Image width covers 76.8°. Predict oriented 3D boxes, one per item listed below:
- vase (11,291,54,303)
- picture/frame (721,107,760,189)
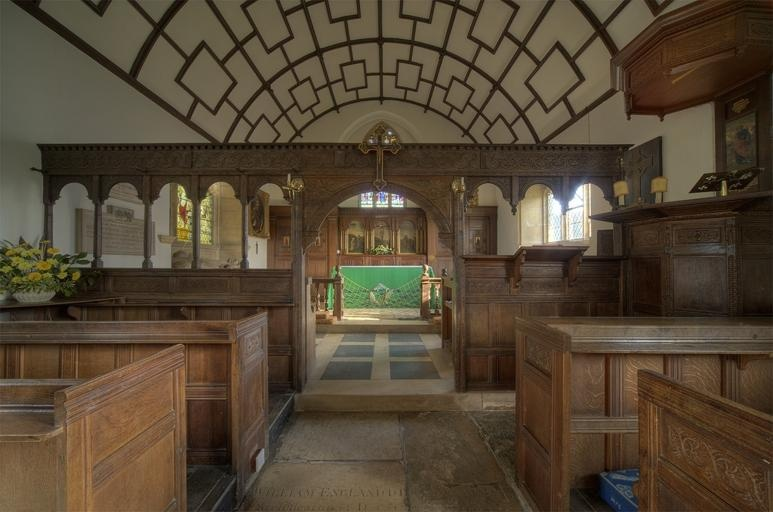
[{"bbox_3d":[-5.048,0.585,6.957,0.479,0.182,0.410,-1,-1,-33],"label":"vase"},{"bbox_3d":[4.655,-1.504,6.382,0.115,0.842,0.424,-2,0,-17],"label":"picture/frame"}]
